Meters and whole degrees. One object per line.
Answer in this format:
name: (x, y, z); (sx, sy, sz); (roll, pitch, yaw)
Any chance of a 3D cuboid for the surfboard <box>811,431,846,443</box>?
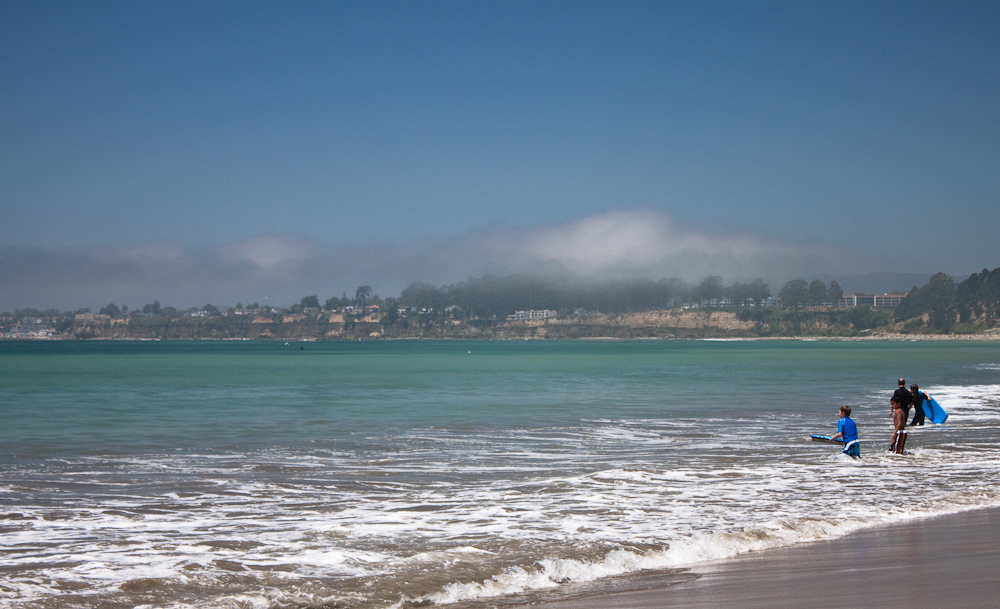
surfboard: (17.272, 7.007, 64.713); (0.928, 0.450, 3.032); (2, -7, 10)
